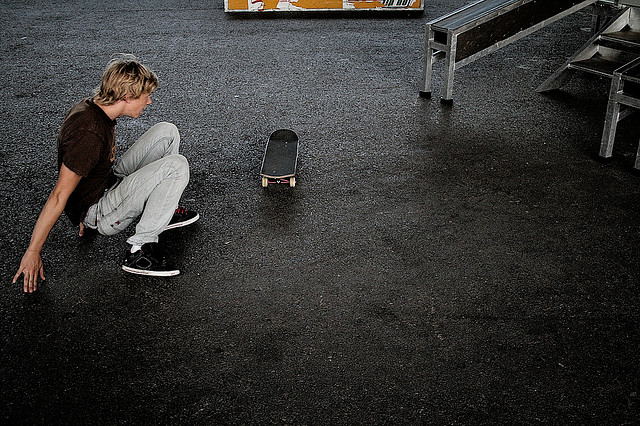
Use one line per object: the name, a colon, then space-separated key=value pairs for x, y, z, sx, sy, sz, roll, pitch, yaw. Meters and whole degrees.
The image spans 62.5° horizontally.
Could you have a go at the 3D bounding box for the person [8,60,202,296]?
person: x=-1.565 y=-0.337 z=3.994 sx=1.265 sy=1.559 sz=1.470 roll=-2 pitch=16 yaw=-12
